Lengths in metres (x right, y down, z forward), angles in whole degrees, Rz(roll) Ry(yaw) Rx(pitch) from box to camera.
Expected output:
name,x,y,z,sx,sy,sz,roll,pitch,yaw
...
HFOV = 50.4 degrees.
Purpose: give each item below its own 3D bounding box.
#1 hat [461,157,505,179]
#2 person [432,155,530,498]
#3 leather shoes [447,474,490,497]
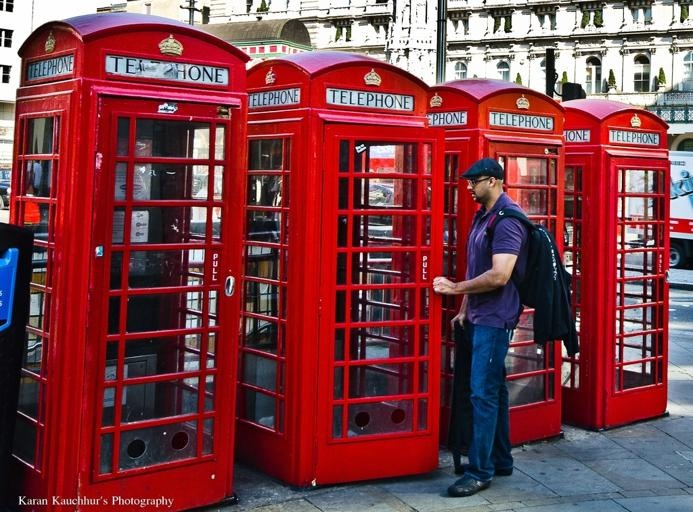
name,x,y,z,sx,sy,sz,roll,pitch,yaw
hat,1.076,-0.677,5.796,0.261,0.155,0.173,3,5,6
person,1.083,0.528,5.794,0.627,2.565,0.685,5,6,14
leather shoes,0.930,1.741,5.682,0.327,0.131,0.121,1,4,-28
